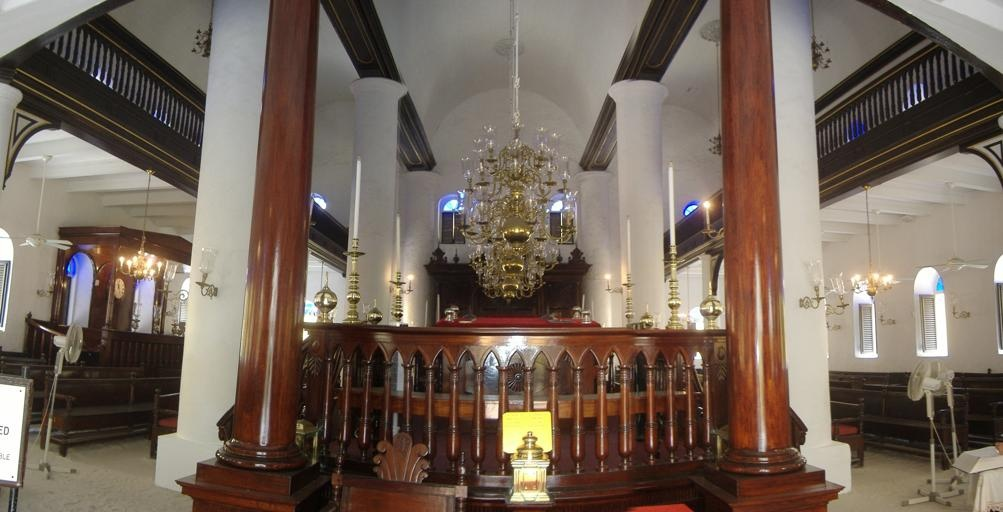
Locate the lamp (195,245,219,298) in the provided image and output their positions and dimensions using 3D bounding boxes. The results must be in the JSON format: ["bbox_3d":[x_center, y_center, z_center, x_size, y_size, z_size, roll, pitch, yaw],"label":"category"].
[{"bbox_3d":[-5.886,0.371,12.666,0.461,0.916,0.418,0,-13,-2],"label":"lamp"}]

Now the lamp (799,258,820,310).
[{"bbox_3d":[6.144,0.629,12.670,0.403,0.860,0.819,-3,-13,10],"label":"lamp"}]

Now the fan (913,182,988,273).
[{"bbox_3d":[13.949,-0.922,19.762,1.970,2.645,1.932,-4,4,26],"label":"fan"}]
